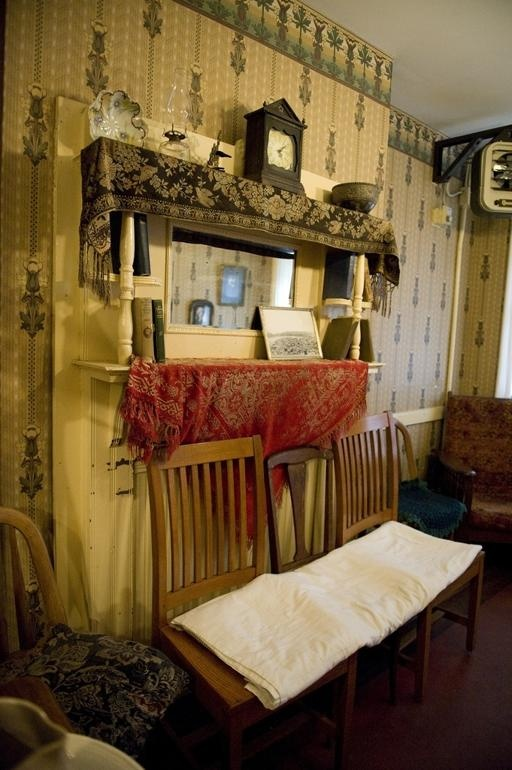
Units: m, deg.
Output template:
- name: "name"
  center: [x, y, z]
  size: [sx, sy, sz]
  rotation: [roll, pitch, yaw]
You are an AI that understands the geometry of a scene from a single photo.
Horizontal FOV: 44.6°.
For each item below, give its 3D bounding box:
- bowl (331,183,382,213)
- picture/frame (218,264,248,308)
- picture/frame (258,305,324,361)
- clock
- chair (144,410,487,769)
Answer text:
- name: "bowl"
  center: [0.394, -0.696, 2.412]
  size: [0.135, 0.082, 0.138]
  rotation: [2, 3, 0]
- name: "picture/frame"
  center: [-0.088, -0.353, 2.221]
  size: [0.027, 0.176, 0.151]
  rotation: [6, 9, 38]
- name: "picture/frame"
  center: [0.133, -0.199, 2.415]
  size: [0.025, 0.216, 0.295]
  rotation: [-18, 15, -40]
- name: "clock"
  center: [0.066, -0.819, 2.138]
  size: [0.218, 0.329, 0.263]
  rotation: [1, 6, -3]
- name: "chair"
  center: [0.158, 0.649, 1.925]
  size: [0.375, 0.717, 0.891]
  rotation: [7, 11, 44]
